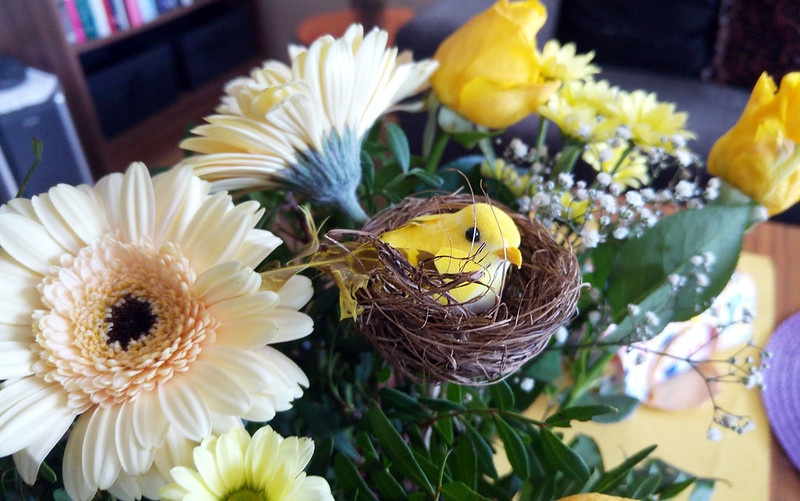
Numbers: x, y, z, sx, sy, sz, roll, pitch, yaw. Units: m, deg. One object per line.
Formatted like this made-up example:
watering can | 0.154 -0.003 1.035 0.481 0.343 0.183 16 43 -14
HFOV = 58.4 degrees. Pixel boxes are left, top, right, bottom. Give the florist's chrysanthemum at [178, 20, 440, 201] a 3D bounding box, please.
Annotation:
florist's chrysanthemum | -0.129 -0.188 0.993 0.276 0.192 0.279 -23 30 6

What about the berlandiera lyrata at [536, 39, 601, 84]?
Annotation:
berlandiera lyrata | 0.248 -0.282 1.087 0.084 0.044 0.085 15 55 0

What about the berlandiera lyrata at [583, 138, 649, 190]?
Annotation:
berlandiera lyrata | 0.346 -0.140 1.154 0.094 0.038 0.095 13 31 -12

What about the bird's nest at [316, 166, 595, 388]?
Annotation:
bird's nest | 0.079 0.054 1.042 0.338 0.206 0.284 20 35 16

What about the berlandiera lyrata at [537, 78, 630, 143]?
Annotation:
berlandiera lyrata | 0.292 -0.216 1.124 0.108 0.079 0.106 18 64 10
